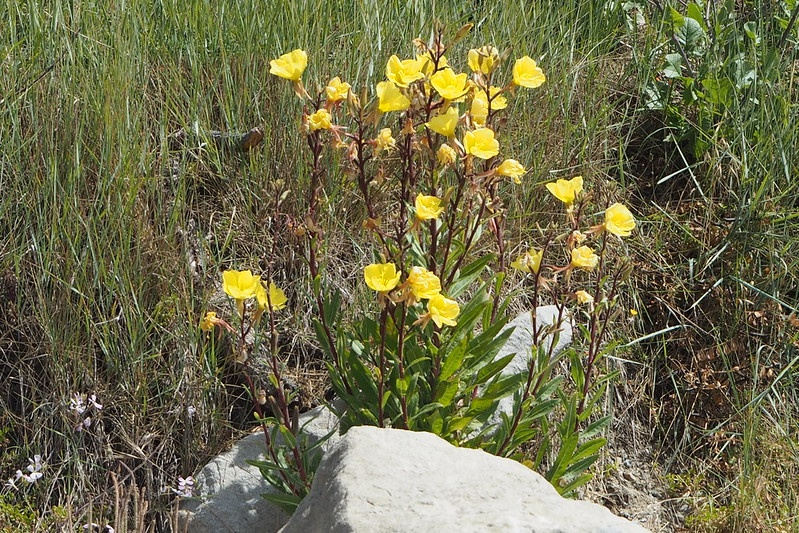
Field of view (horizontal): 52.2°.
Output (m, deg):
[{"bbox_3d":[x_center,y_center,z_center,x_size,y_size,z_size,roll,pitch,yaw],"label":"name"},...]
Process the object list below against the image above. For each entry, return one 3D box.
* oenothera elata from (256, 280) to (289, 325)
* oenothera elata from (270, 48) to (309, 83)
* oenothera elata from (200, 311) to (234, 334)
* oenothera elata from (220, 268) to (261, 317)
[{"bbox_3d":[-0.555,0.124,3.467,0.120,0.199,0.160,0,34,-12],"label":"oenothera elata"},{"bbox_3d":[-0.478,-0.857,3.510,0.139,0.171,0.174,5,34,-5],"label":"oenothera elata"},{"bbox_3d":[-0.840,0.246,3.726,0.101,0.061,0.068,24,-6,16],"label":"oenothera elata"},{"bbox_3d":[-0.660,0.115,3.385,0.129,0.184,0.158,8,29,-5],"label":"oenothera elata"}]
